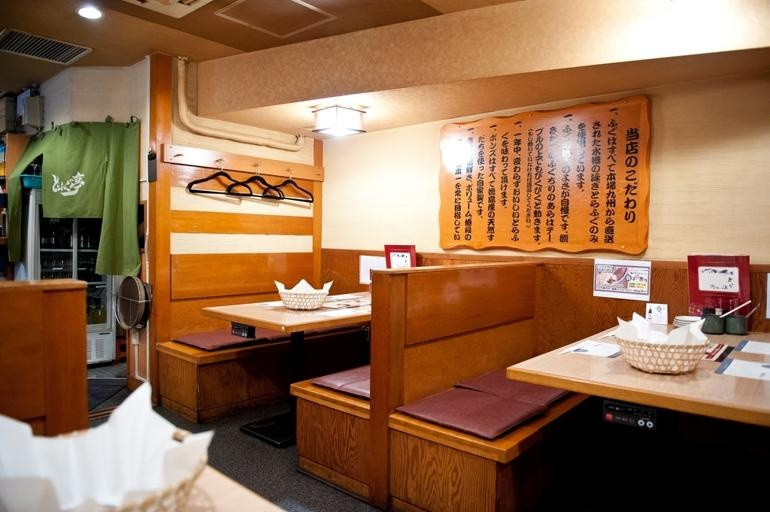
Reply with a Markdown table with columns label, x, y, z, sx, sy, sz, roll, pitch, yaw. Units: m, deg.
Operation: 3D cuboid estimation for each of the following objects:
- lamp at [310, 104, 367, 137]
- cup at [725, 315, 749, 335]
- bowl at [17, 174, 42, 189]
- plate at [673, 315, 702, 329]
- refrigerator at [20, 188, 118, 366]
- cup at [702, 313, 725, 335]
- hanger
| label | x | y | z | sx | sy | sz | roll | pitch | yaw |
| --- | --- | --- | --- | --- | --- | --- | --- | --- | --- |
| lamp | -0.446 | -1.214 | 4.712 | 0.309 | 0.148 | 0.310 | -5 | -6 | 37 |
| cup | 2.462 | 0.473 | 3.582 | 0.138 | 0.123 | 0.139 | 1 | 5 | 0 |
| bowl | -4.018 | -0.851 | 5.796 | 0.290 | 0.168 | 0.120 | 0 | 5 | 16 |
| plate | 1.974 | 0.428 | 3.318 | 0.171 | 0.054 | 0.162 | 0 | -2 | -12 |
| refrigerator | -3.666 | 0.250 | 5.934 | 0.988 | 2.069 | 0.499 | -3 | 5 | -16 |
| cup | 2.301 | 0.477 | 3.563 | 0.181 | 0.164 | 0.185 | 3 | -6 | 0 |
| hanger | -1.398 | -0.764 | 5.488 | 1.451 | 0.379 | 0.178 | -6 | 6 | -44 |
